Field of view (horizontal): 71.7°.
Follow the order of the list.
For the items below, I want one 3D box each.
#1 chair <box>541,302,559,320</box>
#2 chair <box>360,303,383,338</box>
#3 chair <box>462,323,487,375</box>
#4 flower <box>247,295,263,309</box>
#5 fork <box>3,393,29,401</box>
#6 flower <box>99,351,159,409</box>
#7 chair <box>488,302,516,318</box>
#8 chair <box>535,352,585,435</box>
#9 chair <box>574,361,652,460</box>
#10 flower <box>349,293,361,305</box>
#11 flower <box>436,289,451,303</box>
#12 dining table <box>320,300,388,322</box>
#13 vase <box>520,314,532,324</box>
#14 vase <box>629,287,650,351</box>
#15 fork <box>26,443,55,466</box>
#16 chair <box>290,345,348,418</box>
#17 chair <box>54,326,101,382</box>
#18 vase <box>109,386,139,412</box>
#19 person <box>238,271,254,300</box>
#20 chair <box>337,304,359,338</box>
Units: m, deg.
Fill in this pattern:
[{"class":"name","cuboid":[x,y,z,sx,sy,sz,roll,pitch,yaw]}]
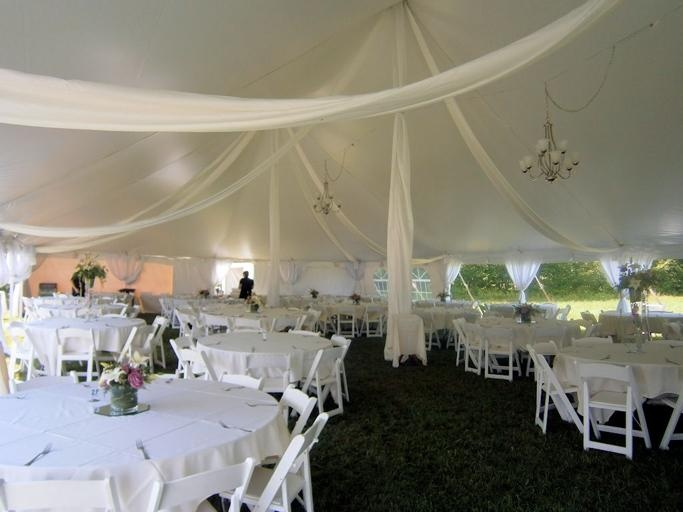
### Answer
[{"class":"chair","cuboid":[5.589,1.484,12.663,0.421,0.252,0.433,7,12,40]},{"class":"chair","cuboid":[0.845,1.657,12.137,0.512,1.117,0.723,0,7,-3]},{"class":"chair","cuboid":[2.188,1.668,7.865,0.264,0.538,0.359,9,-10,-7]},{"class":"flower","cuboid":[-1.711,0.908,9.240,0.265,0.323,0.294,3,2,4]},{"class":"fork","cuboid":[-2.608,1.130,3.776,0.067,0.021,0.071,13,0,8]},{"class":"flower","cuboid":[-1.661,0.971,3.614,0.337,0.425,0.366,2,-3,8]},{"class":"chair","cuboid":[4.135,1.410,12.132,0.571,0.417,0.613,0,0,-17]},{"class":"chair","cuboid":[2.373,1.389,5.170,0.433,0.641,0.473,6,-2,5]},{"class":"chair","cuboid":[2.798,1.530,4.838,0.461,0.903,0.600,-5,-5,42]},{"class":"flower","cuboid":[0.392,1.194,12.942,0.269,0.327,0.269,1,-7,-2]},{"class":"flower","cuboid":[3.283,1.277,15.042,0.377,0.454,0.749,-1,-3,17]},{"class":"dining table","cuboid":[0.344,1.416,12.311,1.563,0.493,1.887,-1,3,1]},{"class":"vase","cuboid":[3.209,1.107,8.185,0.202,0.173,0.120,0,-5,2]},{"class":"vase","cuboid":[5.084,0.917,8.149,0.301,1.023,0.330,-11,-41,40]},{"class":"fork","cuboid":[-1.921,1.262,3.014,0.027,0.028,0.181,8,17,8]},{"class":"chair","cuboid":[-0.272,1.467,5.671,0.552,0.817,0.410,4,4,45]},{"class":"chair","cuboid":[-3.516,1.439,6.313,0.371,0.477,0.365,-16,-17,41]},{"class":"vase","cuboid":[-1.618,1.036,3.543,0.187,0.222,0.188,2,5,-39]},{"class":"person","cuboid":[-2.435,0.774,12.086,0.277,0.793,1.161,-1,3,-13]},{"class":"chair","cuboid":[0.143,1.661,11.783,0.428,0.699,0.511,-4,-18,31]}]
